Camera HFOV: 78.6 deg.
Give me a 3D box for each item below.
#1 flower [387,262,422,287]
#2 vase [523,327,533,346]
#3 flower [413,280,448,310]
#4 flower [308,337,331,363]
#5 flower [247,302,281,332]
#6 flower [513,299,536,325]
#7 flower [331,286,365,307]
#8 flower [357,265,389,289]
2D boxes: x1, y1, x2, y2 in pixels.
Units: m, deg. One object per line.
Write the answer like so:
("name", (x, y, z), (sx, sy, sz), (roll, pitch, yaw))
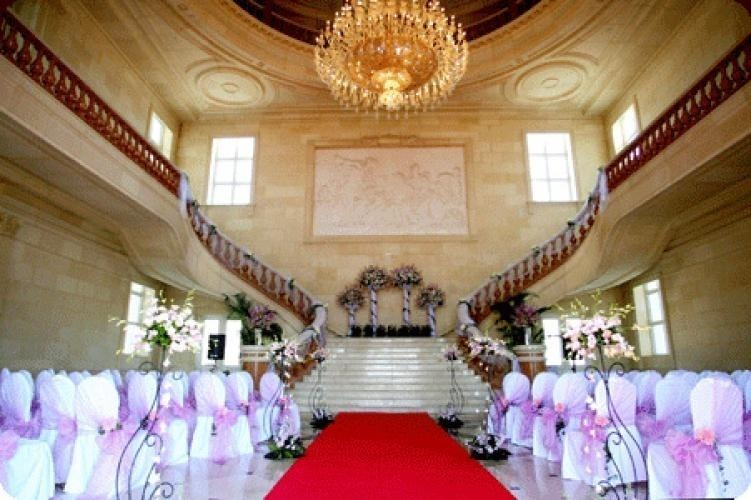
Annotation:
("flower", (1.021, 0.858, 15.938), (0.816, 0.537, 0.841), (2, 3, -1))
("vase", (4.214, 2.365, 12.744), (0.197, 0.488, 0.715), (1, -4, 13))
("flower", (1.841, 1.581, 15.527), (0.818, 0.809, 0.827), (3, -4, -44))
("flower", (-1.490, 2.591, 11.883), (0.565, 0.271, 0.763), (0, -1, -31))
("flower", (-3.255, 1.946, 13.380), (0.706, 0.688, 0.707), (2, 4, 4))
("flower", (4.122, 1.774, 12.714), (0.534, 0.544, 0.551), (-3, -4, 38))
("flower", (-0.838, 1.593, 15.658), (0.932, 0.768, 0.426), (2, -4, -3))
("flower", (-0.050, 0.948, 15.767), (1.061, 0.788, 0.419), (2, -4, -1))
